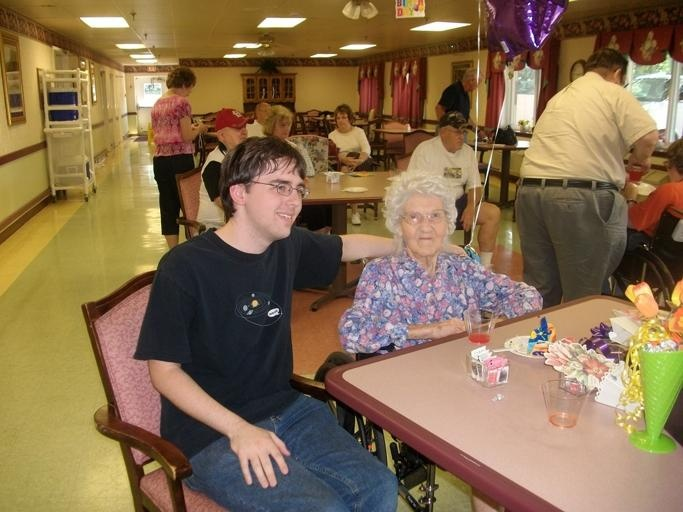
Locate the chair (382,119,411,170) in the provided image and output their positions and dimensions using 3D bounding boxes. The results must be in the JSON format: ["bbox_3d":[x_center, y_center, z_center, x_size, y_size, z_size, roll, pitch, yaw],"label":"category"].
[{"bbox_3d":[1.218,-2.461,11.291,0.648,1.130,0.727,0,9,11],"label":"chair"}]

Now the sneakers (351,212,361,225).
[{"bbox_3d":[0.188,-0.490,6.780,0.154,0.189,0.459,-1,5,1],"label":"sneakers"}]

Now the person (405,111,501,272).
[{"bbox_3d":[1.144,-0.544,4.670,0.910,1.488,0.914,6,15,41],"label":"person"}]

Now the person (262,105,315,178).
[{"bbox_3d":[-0.592,-1.184,5.429,0.723,0.792,0.451,20,23,41],"label":"person"}]

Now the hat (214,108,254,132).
[{"bbox_3d":[-0.882,-1.085,4.042,0.289,0.197,0.218,-13,19,4],"label":"hat"}]

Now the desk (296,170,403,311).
[{"bbox_3d":[0.049,0.039,4.540,1.085,0.895,1.203,12,-2,-1],"label":"desk"}]

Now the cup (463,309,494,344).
[{"bbox_3d":[0.475,0.243,1.797,0.109,0.099,0.103,-2,13,0],"label":"cup"}]

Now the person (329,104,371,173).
[{"bbox_3d":[0.105,-1.628,7.027,0.501,0.890,0.639,-14,27,-17],"label":"person"}]

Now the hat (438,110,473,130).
[{"bbox_3d":[0.949,-1.141,4.375,0.270,0.146,0.197,9,14,40],"label":"hat"}]

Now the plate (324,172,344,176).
[{"bbox_3d":[-0.083,-0.802,4.989,0.125,0.039,0.131,0,12,-8],"label":"plate"}]

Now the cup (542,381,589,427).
[{"bbox_3d":[0.596,0.394,1.360,0.114,0.108,0.109,-1,13,0],"label":"cup"}]
